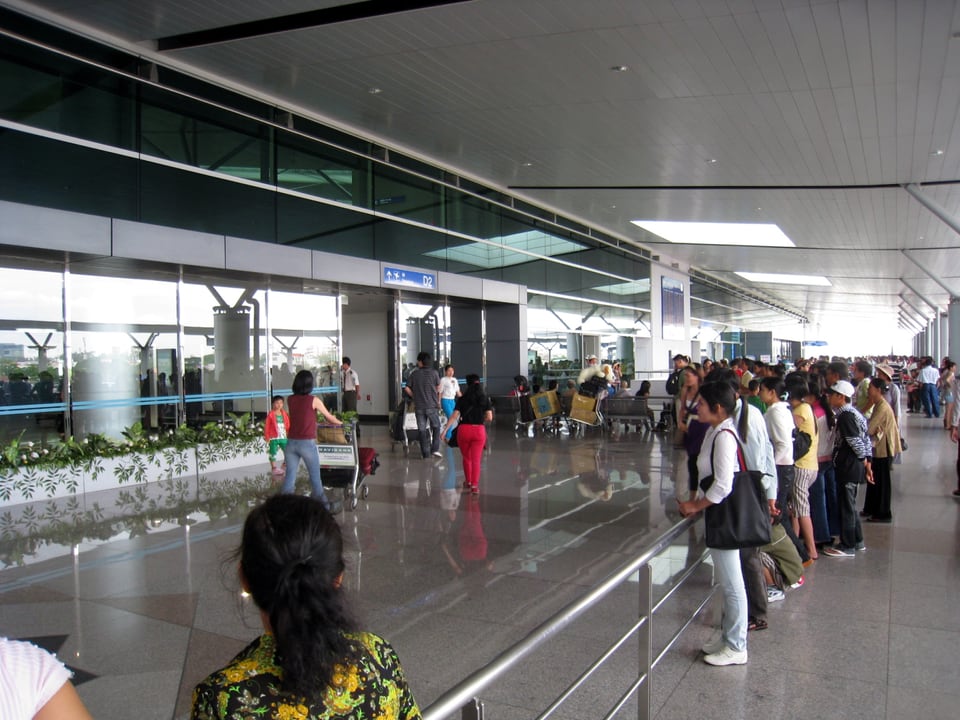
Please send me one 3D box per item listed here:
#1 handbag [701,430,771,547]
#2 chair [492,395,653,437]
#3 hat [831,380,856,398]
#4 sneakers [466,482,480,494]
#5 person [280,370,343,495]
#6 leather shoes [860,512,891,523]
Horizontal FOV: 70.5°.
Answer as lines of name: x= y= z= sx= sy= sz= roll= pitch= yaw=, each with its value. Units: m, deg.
handbag: x=1.794 y=0.892 z=4.708 sx=0.459 sy=0.809 sz=0.305 roll=3 pitch=10 yaw=9
chair: x=2.815 y=1.393 z=18.152 sx=3.665 sy=1.082 sz=2.245 roll=0 pitch=1 yaw=2
hat: x=4.230 y=0.349 z=7.949 sx=0.224 sy=0.148 sz=0.306 roll=11 pitch=12 yaw=-34
sneakers: x=-0.106 y=1.914 z=10.040 sx=0.133 sy=0.213 sz=0.214 roll=2 pitch=-6 yaw=-10
person: x=-2.190 y=1.014 z=8.682 sx=0.667 sy=1.722 sz=0.665 roll=0 pitch=1 yaw=-16
leather shoes: x=4.863 y=1.944 z=8.357 sx=0.318 sy=0.116 sz=0.107 roll=-5 pitch=-5 yaw=39
